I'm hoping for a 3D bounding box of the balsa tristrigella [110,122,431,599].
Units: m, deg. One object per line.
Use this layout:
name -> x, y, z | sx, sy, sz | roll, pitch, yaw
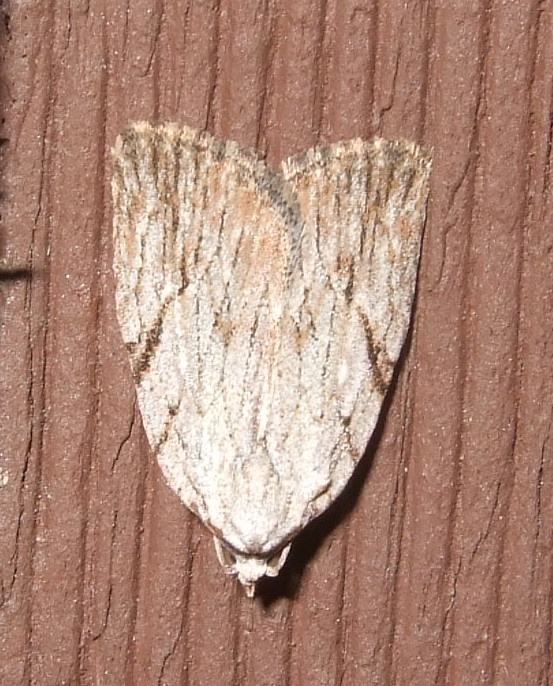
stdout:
balsa tristrigella -> -0.014, -0.029, 2.845 | 0.275, 0.119, 0.723 | 3, 90, -1
